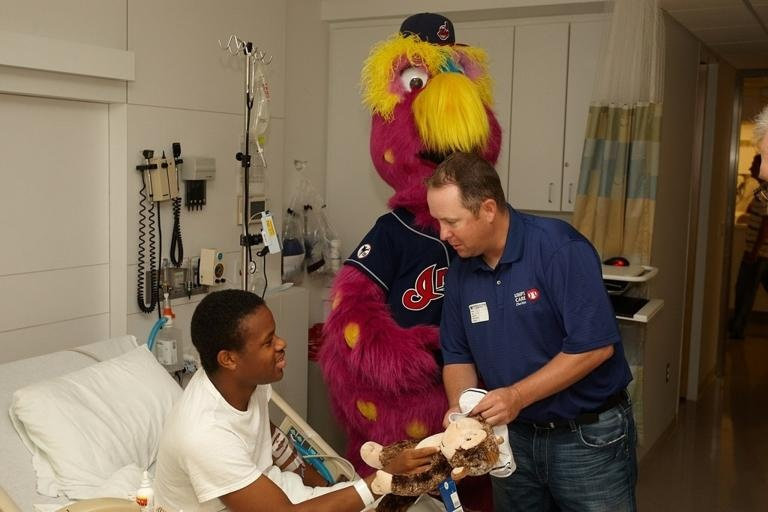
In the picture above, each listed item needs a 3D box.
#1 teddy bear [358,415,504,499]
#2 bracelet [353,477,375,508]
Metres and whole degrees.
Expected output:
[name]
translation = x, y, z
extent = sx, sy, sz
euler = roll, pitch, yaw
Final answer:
[teddy bear]
translation = 0.151, 0.658, 1.891
extent = 0.411, 0.187, 0.249
euler = -22, 22, 7
[bracelet]
translation = -0.064, 0.780, 1.862
extent = 0.053, 0.090, 0.085
euler = -16, 30, -16
